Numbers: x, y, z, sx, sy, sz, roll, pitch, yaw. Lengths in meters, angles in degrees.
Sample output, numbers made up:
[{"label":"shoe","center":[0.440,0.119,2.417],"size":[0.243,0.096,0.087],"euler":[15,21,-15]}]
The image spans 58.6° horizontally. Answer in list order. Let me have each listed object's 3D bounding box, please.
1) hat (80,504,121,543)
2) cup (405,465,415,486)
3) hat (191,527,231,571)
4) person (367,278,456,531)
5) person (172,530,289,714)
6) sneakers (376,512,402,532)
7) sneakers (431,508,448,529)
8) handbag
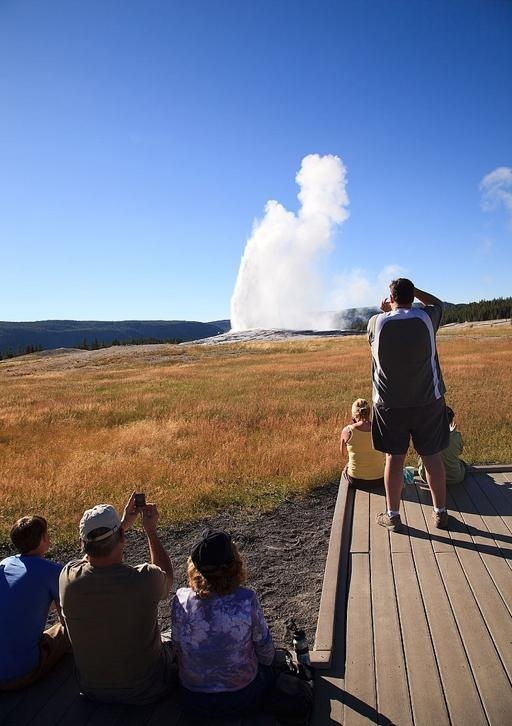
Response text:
[{"label":"hat","center":[-0.858,0.874,2.553],"size":[0.148,0.137,0.241],"euler":[-3,10,2]},{"label":"cup","center":[1.896,1.398,5.663],"size":[0.190,0.213,0.211],"euler":[-2,-7,25]},{"label":"hat","center":[-0.224,0.932,2.355],"size":[0.136,0.128,0.209],"euler":[-18,23,12]},{"label":"person","center":[1.410,0.418,4.248],"size":[0.688,1.674,0.516],"euler":[-3,1,18]},{"label":"person","center":[-0.157,1.384,2.750],"size":[0.556,1.059,0.875],"euler":[2,3,5]},{"label":"sneakers","center":[1.300,1.536,4.481],"size":[0.097,0.135,0.265],"euler":[0,1,-4]},{"label":"sneakers","center":[1.746,1.471,4.353],"size":[0.071,0.105,0.238],"euler":[0,6,10]},{"label":"handbag","center":[0.176,1.744,2.503],"size":[0.221,0.208,0.325],"euler":[-3,9,8]}]
